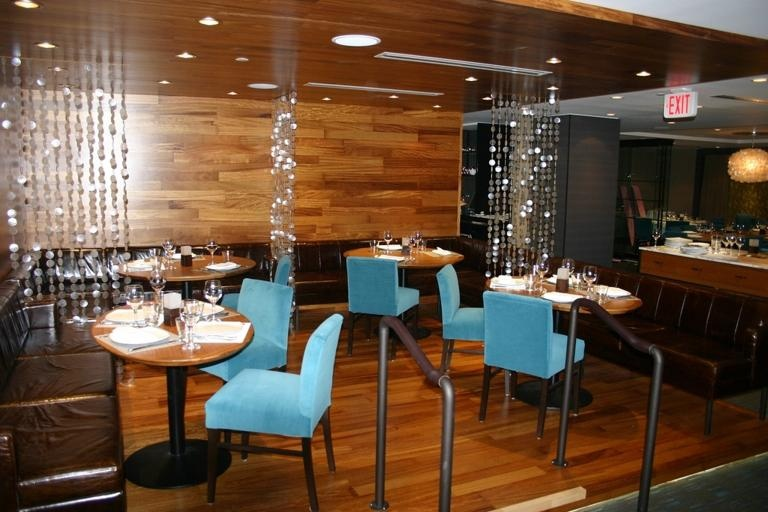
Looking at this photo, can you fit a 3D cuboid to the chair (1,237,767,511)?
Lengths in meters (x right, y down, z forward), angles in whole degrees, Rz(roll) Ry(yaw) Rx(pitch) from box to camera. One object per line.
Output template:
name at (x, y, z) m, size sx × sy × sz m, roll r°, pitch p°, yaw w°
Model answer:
chair at (0.828, 0.994, 5.079) m, size 5.574 × 1.272 × 3.012 m, roll -3°, pitch 8°, yaw -3°

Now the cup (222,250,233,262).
cup at (-1.740, 0.012, 6.045) m, size 0.146 × 0.124 × 0.142 m, roll 0°, pitch -3°, yaw 0°

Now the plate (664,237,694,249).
plate at (4.504, -0.186, 8.293) m, size 0.365 × 0.111 × 0.309 m, roll 0°, pitch 5°, yaw 5°

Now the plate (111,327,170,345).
plate at (-1.695, 0.553, 3.766) m, size 0.382 × 0.078 × 0.346 m, roll -4°, pitch 8°, yaw -14°

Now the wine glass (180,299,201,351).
wine glass at (-1.340, 0.460, 3.742) m, size 0.143 × 0.316 × 0.366 m, roll -8°, pitch 10°, yaw -20°
